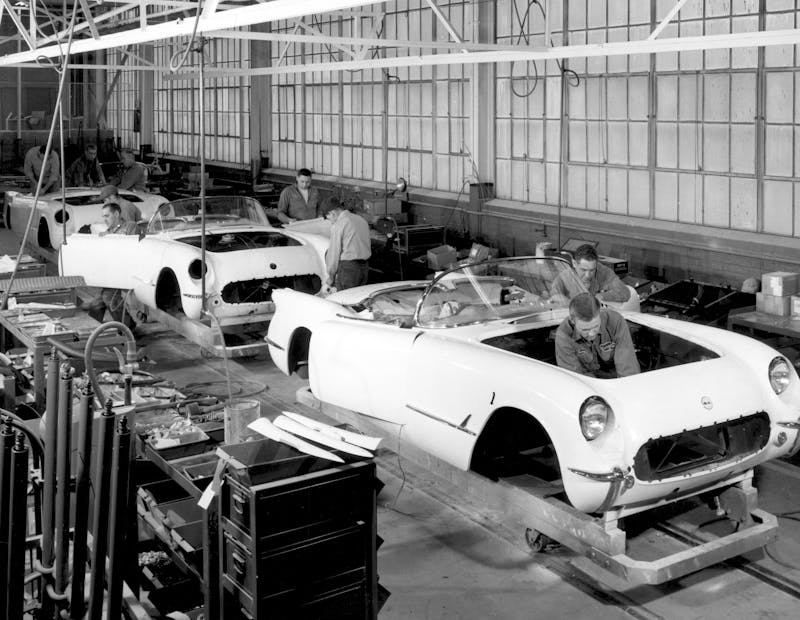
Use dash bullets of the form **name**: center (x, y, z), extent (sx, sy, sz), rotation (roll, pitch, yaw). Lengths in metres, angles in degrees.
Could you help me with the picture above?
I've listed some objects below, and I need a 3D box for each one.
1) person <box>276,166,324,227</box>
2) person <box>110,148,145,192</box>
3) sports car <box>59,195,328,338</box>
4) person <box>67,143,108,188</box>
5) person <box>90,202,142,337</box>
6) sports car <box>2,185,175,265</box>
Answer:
- **person**: center (-1.428, -1.758, 11.399), extent (0.650, 0.842, 0.434), rotation (-11, 25, -27)
- **person**: center (-5.398, -2.776, 15.514), extent (0.540, 1.038, 0.577), rotation (22, 29, 17)
- **sports car**: center (-2.500, -0.345, 9.106), extent (2.672, 1.144, 1.670), rotation (13, 14, 40)
- **person**: center (-6.215, -2.957, 15.319), extent (1.340, 0.814, 0.505), rotation (11, 19, 38)
- **person**: center (-3.552, -0.608, 9.363), extent (0.958, 1.651, 0.495), rotation (6, 5, 32)
- **sports car**: center (-4.405, -1.261, 10.889), extent (1.253, 0.751, 2.207), rotation (-8, 15, -32)
